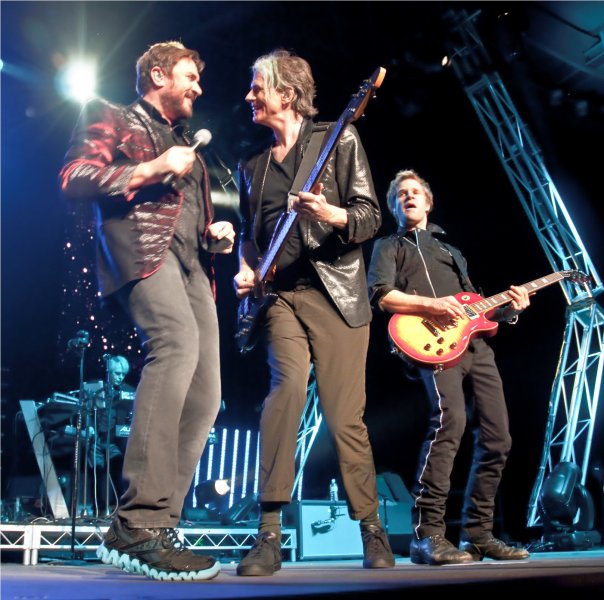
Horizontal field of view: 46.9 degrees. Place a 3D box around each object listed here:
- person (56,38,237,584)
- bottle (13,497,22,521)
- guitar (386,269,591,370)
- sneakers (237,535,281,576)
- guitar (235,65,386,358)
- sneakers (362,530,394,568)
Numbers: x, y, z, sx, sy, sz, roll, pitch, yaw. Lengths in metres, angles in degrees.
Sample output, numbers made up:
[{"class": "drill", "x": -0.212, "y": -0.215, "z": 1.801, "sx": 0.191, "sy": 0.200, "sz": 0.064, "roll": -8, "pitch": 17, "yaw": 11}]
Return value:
[{"class": "person", "x": -0.680, "y": -0.092, "z": 3.128, "sx": 0.809, "sy": 2.527, "sz": 0.460, "roll": 3, "pitch": -13, "yaw": -21}, {"class": "bottle", "x": -2.800, "y": 2.053, "z": 6.837, "sx": 0.029, "sy": 0.264, "sz": 0.109, "roll": -6, "pitch": -8, "yaw": 25}, {"class": "guitar", "x": 1.636, "y": 0.135, "z": 5.685, "sx": 1.523, "sy": 0.529, "sz": 0.174, "roll": -18, "pitch": -35, "yaw": -32}, {"class": "sneakers", "x": -0.190, "y": 1.113, "z": 3.050, "sx": 0.180, "sy": 0.173, "sz": 0.341, "roll": -2, "pitch": -13, "yaw": -1}, {"class": "guitar", "x": 0.035, "y": -0.448, "z": 3.460, "sx": 0.415, "sy": 1.320, "sz": 1.086, "roll": 7, "pitch": -15, "yaw": -35}, {"class": "sneakers", "x": 0.346, "y": 1.131, "z": 3.201, "sx": 0.146, "sy": 0.174, "sz": 0.207, "roll": -3, "pitch": -13, "yaw": 3}]
